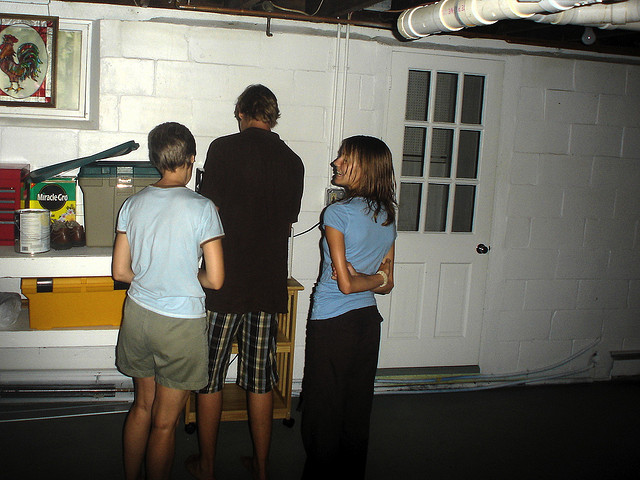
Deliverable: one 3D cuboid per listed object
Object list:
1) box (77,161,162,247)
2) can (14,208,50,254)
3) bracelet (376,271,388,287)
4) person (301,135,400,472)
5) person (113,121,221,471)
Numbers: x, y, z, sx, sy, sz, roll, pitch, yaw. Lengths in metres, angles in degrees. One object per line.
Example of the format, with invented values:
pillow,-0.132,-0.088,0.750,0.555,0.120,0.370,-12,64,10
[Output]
box,-1.395,-0.333,4.565,0.616,0.620,0.422,2,12,-18
can,-1.848,-0.060,4.249,0.282,0.255,0.280,5,7,25
bracelet,0.353,0.223,3.734,0.058,0.090,0.049,2,6,5
person,0.164,0.381,3.733,0.500,1.927,0.281,2,5,3
person,-0.853,0.343,3.633,0.605,1.965,0.253,1,5,-2
